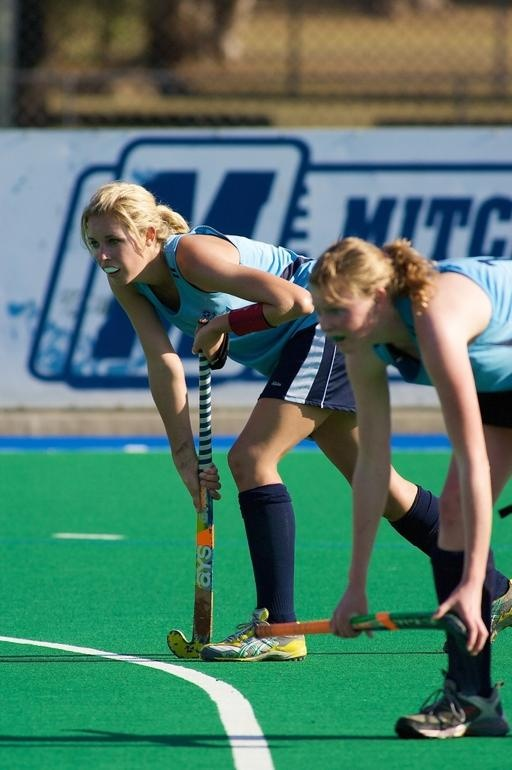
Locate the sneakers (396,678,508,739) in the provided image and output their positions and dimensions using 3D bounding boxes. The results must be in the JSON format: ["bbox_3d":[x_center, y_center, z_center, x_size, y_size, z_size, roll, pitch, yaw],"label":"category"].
[{"bbox_3d":[0.471,0.778,2.445,0.410,0.124,0.148,1,8,3],"label":"sneakers"}]

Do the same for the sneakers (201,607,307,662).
[{"bbox_3d":[-0.003,0.787,3.146,0.330,0.131,0.097,0,-6,-7],"label":"sneakers"}]
